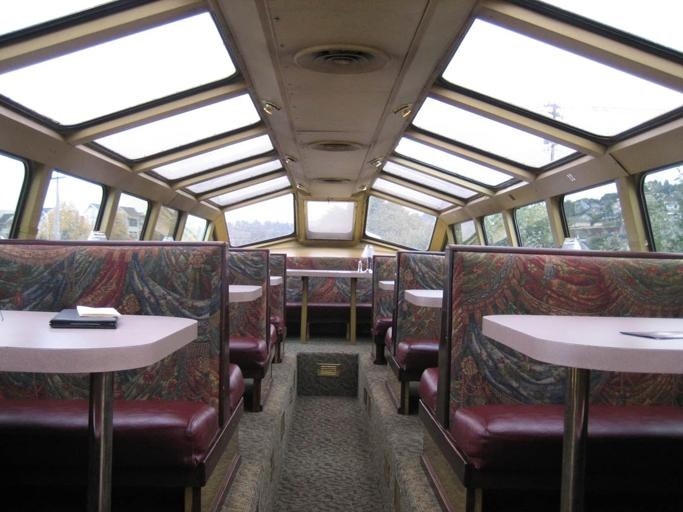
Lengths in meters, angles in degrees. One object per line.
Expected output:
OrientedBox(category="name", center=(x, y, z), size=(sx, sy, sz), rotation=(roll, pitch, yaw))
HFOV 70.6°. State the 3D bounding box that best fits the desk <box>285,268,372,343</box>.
OrientedBox(category="desk", center=(-0.127, 0.540, 6.587), size=(0.971, 0.806, 0.985), rotation=(1, 7, 8))
